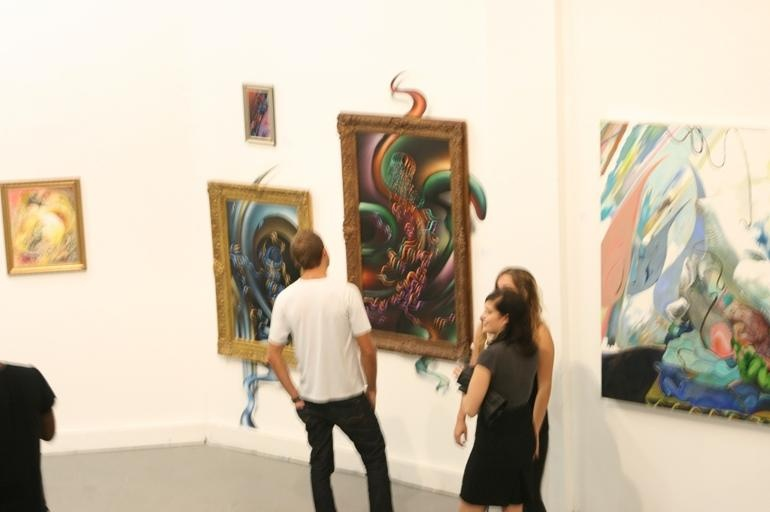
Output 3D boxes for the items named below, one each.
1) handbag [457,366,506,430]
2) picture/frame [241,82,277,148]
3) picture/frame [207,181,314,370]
[{"bbox_3d":[0.647,0.961,4.523,0.245,0.355,0.121,18,-1,-31],"label":"handbag"},{"bbox_3d":[-1.119,-1.285,6.062,0.299,0.491,0.039,7,12,24],"label":"picture/frame"},{"bbox_3d":[-1.069,0.097,5.948,1.314,2.088,0.158,6,14,21],"label":"picture/frame"}]
